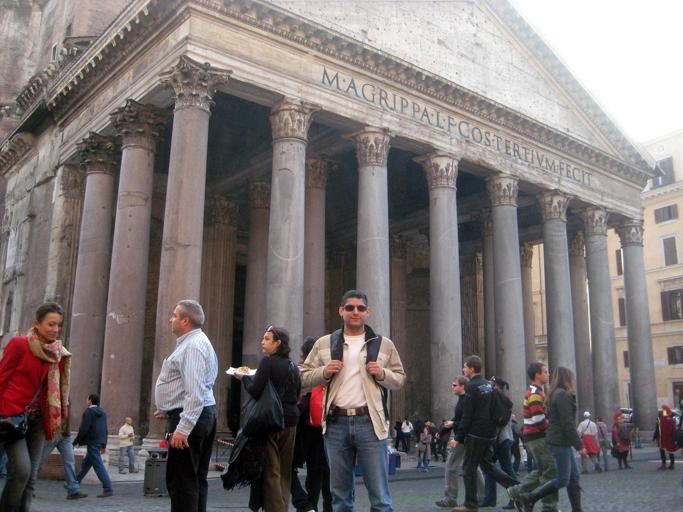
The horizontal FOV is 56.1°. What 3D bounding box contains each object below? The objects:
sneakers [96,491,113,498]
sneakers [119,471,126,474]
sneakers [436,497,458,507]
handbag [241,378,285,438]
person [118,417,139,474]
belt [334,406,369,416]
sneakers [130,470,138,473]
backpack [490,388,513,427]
[{"bbox_3d":[-4.592,4.646,12.459,0.283,0.109,0.231,5,-16,-20],"label":"sneakers"},{"bbox_3d":[-5.419,5.414,15.920,0.060,0.079,0.179,19,-31,-38],"label":"sneakers"},{"bbox_3d":[1.860,4.381,11.422,0.410,0.185,0.153,2,5,10],"label":"sneakers"},{"bbox_3d":[-1.046,2.041,8.536,0.580,0.609,0.301,-37,-46,27],"label":"handbag"},{"bbox_3d":[-5.527,4.901,16.575,0.459,1.385,1.461,4,-16,-18],"label":"person"},{"bbox_3d":[0.107,1.897,7.768,0.421,0.116,0.080,-1,-15,1],"label":"belt"},{"bbox_3d":[-5.215,5.485,16.190,0.159,0.070,0.054,-1,1,-18],"label":"sneakers"},{"bbox_3d":[2.795,2.680,11.267,0.317,0.669,0.982,-4,-15,13],"label":"backpack"}]
